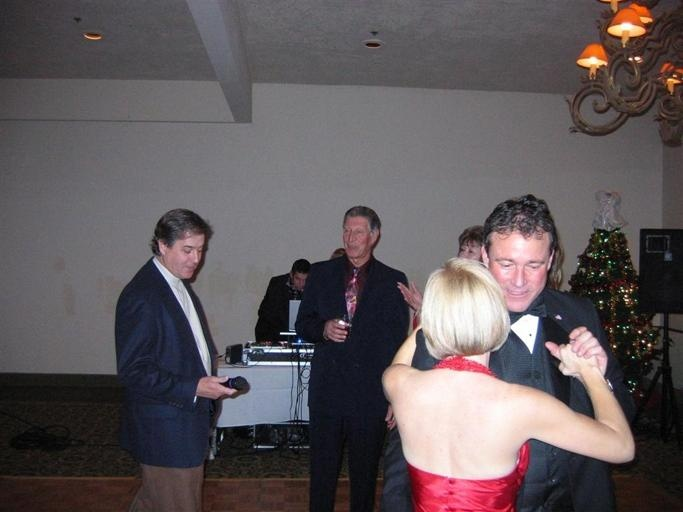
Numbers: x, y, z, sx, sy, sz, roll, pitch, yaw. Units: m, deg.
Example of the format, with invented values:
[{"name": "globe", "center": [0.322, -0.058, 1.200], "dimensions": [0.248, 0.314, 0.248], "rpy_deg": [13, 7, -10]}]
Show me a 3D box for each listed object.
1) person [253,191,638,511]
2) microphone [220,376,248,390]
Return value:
[{"name": "person", "center": [0.786, 0.472, 2.669], "dimensions": [1.093, 1.510, 0.676], "rpy_deg": [-2, 6, -28]}, {"name": "microphone", "center": [-0.635, 0.751, 3.337], "dimensions": [0.065, 0.071, 0.190], "rpy_deg": [-19, 7, -43]}]
